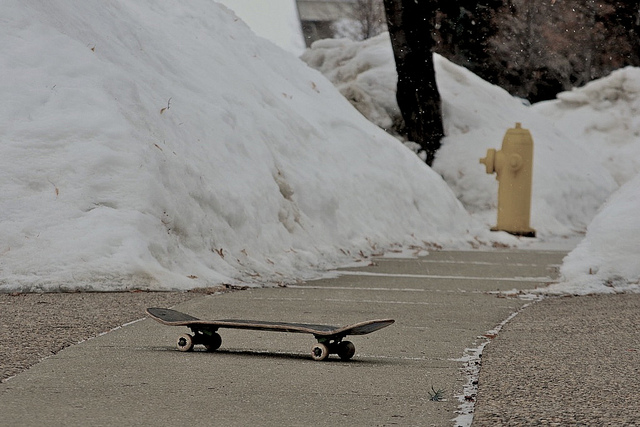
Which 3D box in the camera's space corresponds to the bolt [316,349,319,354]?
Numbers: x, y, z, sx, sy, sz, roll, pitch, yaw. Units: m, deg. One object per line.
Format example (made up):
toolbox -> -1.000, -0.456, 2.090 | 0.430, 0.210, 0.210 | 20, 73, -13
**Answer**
bolt -> -0.019, 2.056, 19.138 | 0.041, 0.065, 0.024 | 3, 14, 3
